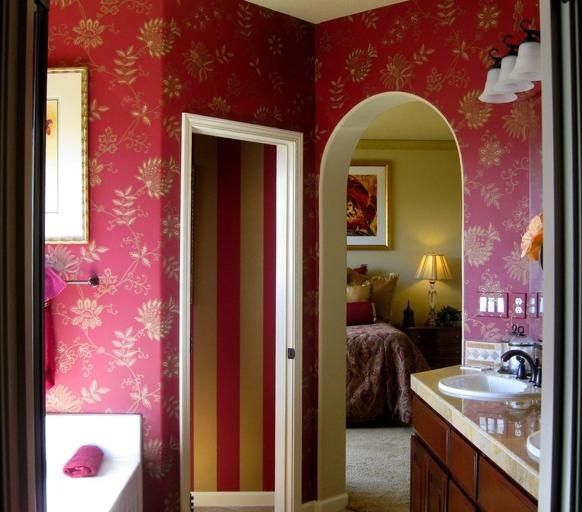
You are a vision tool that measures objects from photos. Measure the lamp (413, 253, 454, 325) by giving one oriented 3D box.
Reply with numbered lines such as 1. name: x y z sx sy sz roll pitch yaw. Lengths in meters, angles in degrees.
1. lamp: 1.624 0.369 6.183 0.392 0.838 0.405 -9 12 -42

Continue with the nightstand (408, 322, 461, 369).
1. nightstand: 1.466 0.898 5.818 0.590 0.658 0.371 -5 -5 -1

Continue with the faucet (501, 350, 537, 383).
1. faucet: 0.929 0.430 2.180 0.119 0.141 0.291 -9 -2 24

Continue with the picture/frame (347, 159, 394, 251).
1. picture/frame: 0.896 -0.576 6.203 0.567 0.941 0.090 -7 -2 -3

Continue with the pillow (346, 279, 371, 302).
1. pillow: 0.695 0.368 5.555 0.281 0.139 0.395 -1 45 6

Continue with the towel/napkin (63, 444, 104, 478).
1. towel/napkin: -0.882 0.871 2.298 0.134 0.082 0.203 1 3 -8
